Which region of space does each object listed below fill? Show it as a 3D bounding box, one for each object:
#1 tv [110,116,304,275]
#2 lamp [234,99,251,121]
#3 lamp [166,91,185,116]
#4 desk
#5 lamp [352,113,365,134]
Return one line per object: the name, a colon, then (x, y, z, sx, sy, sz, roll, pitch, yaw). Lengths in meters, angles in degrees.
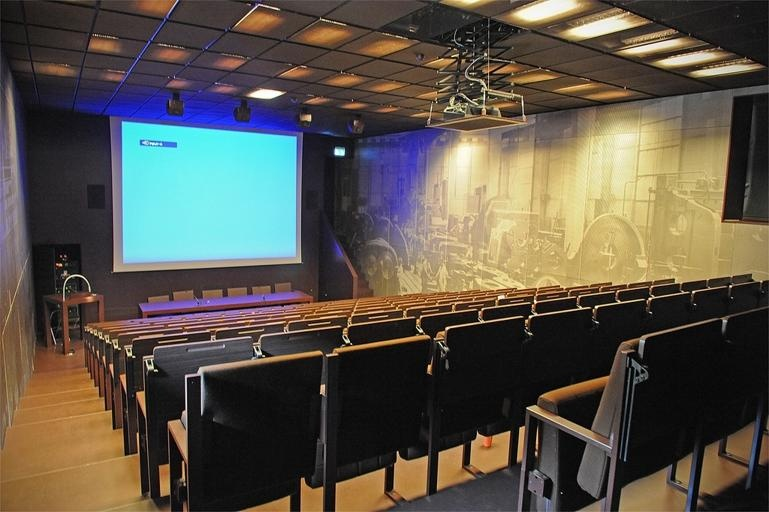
tv: (-4.636, -1.475, 13.108, 4.909, 3.418, 0.432, -1, 9, -33)
lamp: (-2.876, -2.917, 10.656, 0.247, 0.450, 0.317, 6, 9, 33)
lamp: (-3.970, -2.844, 10.028, 0.276, 0.366, 0.563, -6, 8, -22)
desk: (-6.412, 1.221, 10.946, 1.238, 1.322, 0.841, 2, 12, -15)
lamp: (-0.636, -2.991, 12.120, 0.293, 0.325, 0.531, -3, 8, -4)
